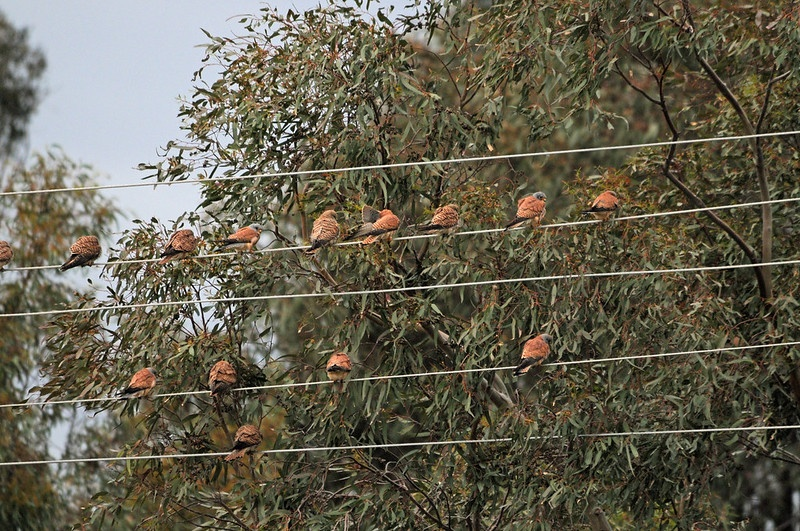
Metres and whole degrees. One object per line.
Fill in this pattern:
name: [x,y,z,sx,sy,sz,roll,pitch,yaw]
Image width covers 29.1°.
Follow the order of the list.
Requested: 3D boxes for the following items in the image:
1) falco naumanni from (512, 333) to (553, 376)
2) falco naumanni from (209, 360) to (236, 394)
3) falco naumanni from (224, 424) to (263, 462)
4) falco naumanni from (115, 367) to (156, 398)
falco naumanni: [1.330,0.904,15.532,0.238,0.313,0.672,-4,8,40]
falco naumanni: [-1.829,1.164,15.674,0.263,0.373,0.594,-2,3,7]
falco naumanni: [-1.597,1.790,15.698,0.372,0.469,0.374,-2,-31,-7]
falco naumanni: [-2.693,1.233,15.837,0.356,0.347,0.408,0,-33,-11]
